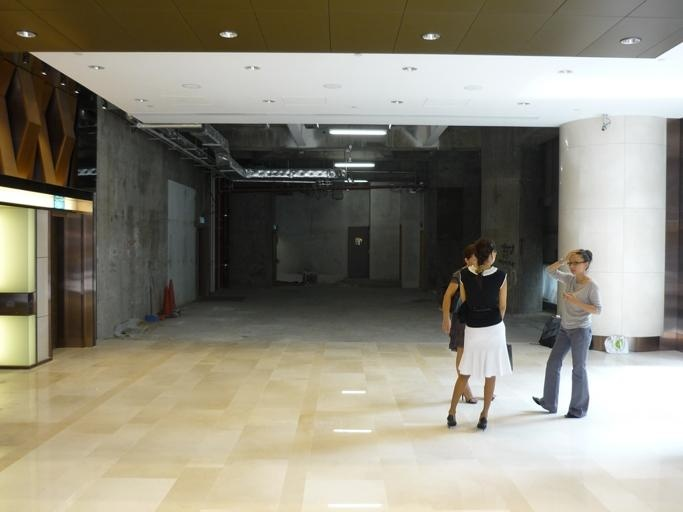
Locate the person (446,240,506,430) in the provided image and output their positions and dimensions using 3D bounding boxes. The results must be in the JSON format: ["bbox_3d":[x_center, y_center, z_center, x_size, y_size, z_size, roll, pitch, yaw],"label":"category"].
[{"bbox_3d":[1.604,0.912,5.713,0.687,2.211,0.414,1,2,19],"label":"person"}]

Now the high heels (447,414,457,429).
[{"bbox_3d":[1.300,1.944,5.764,0.065,0.086,0.196,1,2,8],"label":"high heels"}]

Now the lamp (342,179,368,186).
[{"bbox_3d":[0.585,-3.392,22.683,0.851,0.213,0.813,1,2,15],"label":"lamp"}]

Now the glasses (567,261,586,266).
[{"bbox_3d":[2.929,0.088,6.096,0.207,0.065,0.112,2,3,31],"label":"glasses"}]

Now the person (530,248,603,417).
[{"bbox_3d":[2.876,0.959,6.187,0.679,2.080,0.501,1,3,27],"label":"person"}]

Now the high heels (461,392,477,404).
[{"bbox_3d":[1.711,1.905,6.572,0.096,0.150,0.318,1,-13,-8],"label":"high heels"}]

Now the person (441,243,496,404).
[{"bbox_3d":[1.589,0.932,5.780,0.732,2.160,0.678,2,-6,12],"label":"person"}]
